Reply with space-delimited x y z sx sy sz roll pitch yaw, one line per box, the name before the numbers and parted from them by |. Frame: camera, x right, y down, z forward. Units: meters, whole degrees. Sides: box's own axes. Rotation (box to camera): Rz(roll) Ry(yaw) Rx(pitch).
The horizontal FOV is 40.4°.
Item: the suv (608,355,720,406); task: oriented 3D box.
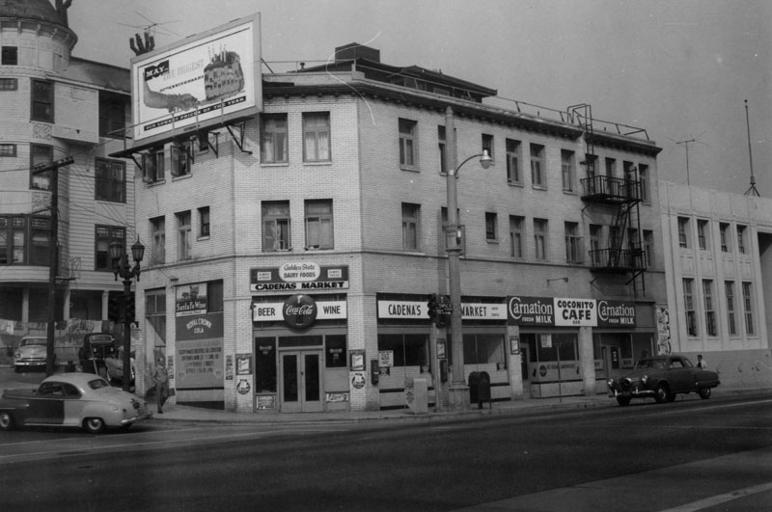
suv | 14.647 6.690 55.590 6.343 2.547 2.561 1 -3 -26
